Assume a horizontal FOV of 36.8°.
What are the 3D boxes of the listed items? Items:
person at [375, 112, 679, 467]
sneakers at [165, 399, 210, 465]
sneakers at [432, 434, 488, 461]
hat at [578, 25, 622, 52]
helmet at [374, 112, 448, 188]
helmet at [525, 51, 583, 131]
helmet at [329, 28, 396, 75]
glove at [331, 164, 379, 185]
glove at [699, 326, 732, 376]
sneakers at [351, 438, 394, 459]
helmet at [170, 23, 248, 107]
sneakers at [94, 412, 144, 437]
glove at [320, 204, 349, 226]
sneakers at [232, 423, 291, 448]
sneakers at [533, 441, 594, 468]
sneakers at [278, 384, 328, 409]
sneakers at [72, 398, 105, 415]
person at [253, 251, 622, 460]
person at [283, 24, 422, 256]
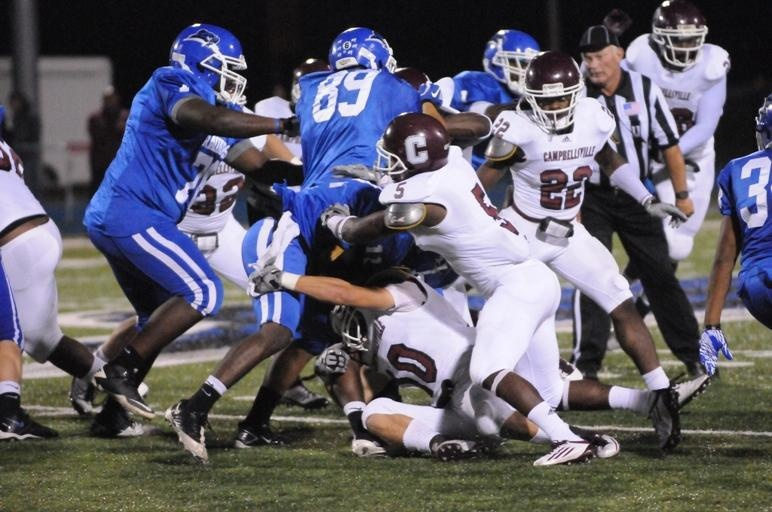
[{"bbox_3d":[0.513,0.164,6.342,1.161,1.877,0.621,0,13,11],"label":"person"},{"bbox_3d":[-1.100,0.980,6.444,0.222,0.362,0.207,-4,13,-9],"label":"sneakers"},{"bbox_3d":[0.392,1.062,6.432,0.341,0.103,0.148,8,-7,-26],"label":"sneakers"},{"bbox_3d":[1.444,-1.467,7.825,0.188,0.136,0.265,-6,-2,42],"label":"hat"},{"bbox_3d":[0.169,-0.611,6.481,0.499,0.360,0.357,-4,17,10],"label":"helmet"},{"bbox_3d":[0.962,-0.934,6.639,0.394,0.414,0.445,-8,34,7],"label":"helmet"},{"bbox_3d":[-0.156,-1.284,7.299,0.380,0.345,0.456,-1,18,16],"label":"helmet"},{"bbox_3d":[-0.173,-0.479,6.768,0.283,0.111,0.124,3,13,22],"label":"glove"},{"bbox_3d":[1.942,0.591,6.876,0.272,0.327,0.105,0,-13,-3],"label":"glove"},{"bbox_3d":[-0.073,1.078,6.553,0.241,0.095,0.081,1,-11,2],"label":"sneakers"},{"bbox_3d":[-1.110,-1.193,7.123,0.539,0.472,0.395,4,3,-15],"label":"helmet"},{"bbox_3d":[-1.602,1.011,6.937,0.376,0.147,0.117,1,3,-3],"label":"sneakers"},{"bbox_3d":[-0.284,-0.247,6.575,0.111,0.062,0.144,-34,37,-31],"label":"glove"},{"bbox_3d":[-0.732,1.059,6.808,0.325,0.119,0.125,2,-4,-16],"label":"sneakers"},{"bbox_3d":[0.949,1.059,6.225,0.368,0.136,0.114,-7,-28,1],"label":"sneakers"},{"bbox_3d":[-0.595,0.907,7.570,0.409,0.160,0.130,5,1,15],"label":"sneakers"},{"bbox_3d":[-1.872,0.942,7.263,0.172,0.140,0.104,13,-4,-22],"label":"sneakers"},{"bbox_3d":[0.458,0.600,6.773,1.429,0.762,2.566,6,6,-35],"label":"person"},{"bbox_3d":[-0.242,-0.763,6.965,0.829,1.178,0.348,2,-12,10],"label":"person"}]
